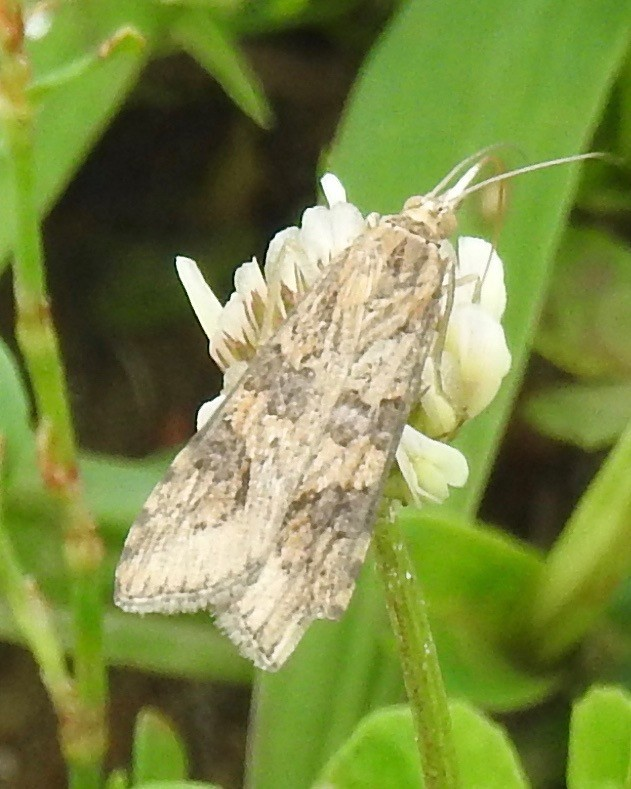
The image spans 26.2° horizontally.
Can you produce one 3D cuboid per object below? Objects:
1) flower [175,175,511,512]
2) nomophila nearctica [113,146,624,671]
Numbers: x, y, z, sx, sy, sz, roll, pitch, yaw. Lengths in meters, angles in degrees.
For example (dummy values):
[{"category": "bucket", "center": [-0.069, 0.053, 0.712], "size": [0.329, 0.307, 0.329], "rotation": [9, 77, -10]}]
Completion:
[{"category": "flower", "center": [0.014, 0.011, 0.846], "size": [0.193, 0.251, 0.152], "rotation": [-1, 39, -3]}, {"category": "nomophila nearctica", "center": [0.027, -0.019, 0.906], "size": [0.186, 0.132, 0.383], "rotation": [31, 78, -15]}]
